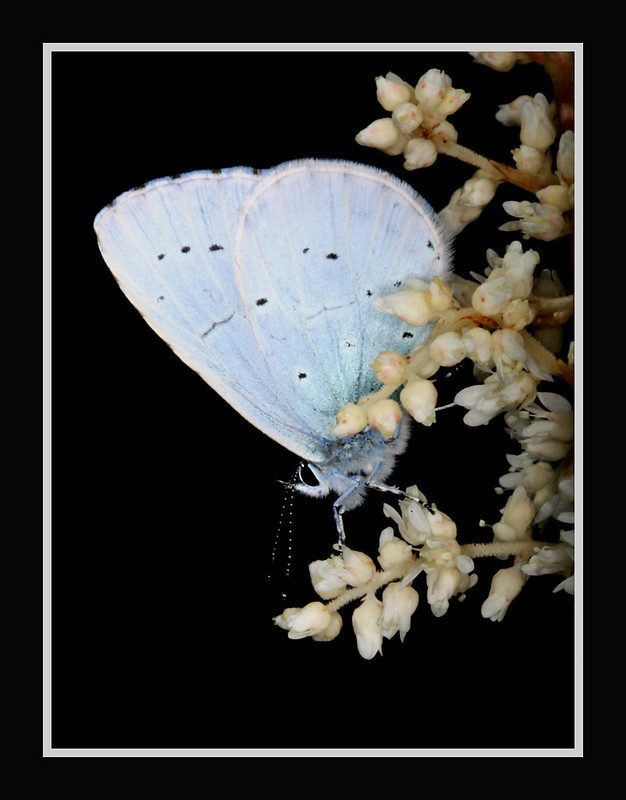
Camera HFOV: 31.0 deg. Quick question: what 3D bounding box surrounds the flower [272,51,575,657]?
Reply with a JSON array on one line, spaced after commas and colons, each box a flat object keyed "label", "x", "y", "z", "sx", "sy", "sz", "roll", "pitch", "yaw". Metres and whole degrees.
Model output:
[{"label": "flower", "x": 0.297, "y": -0.090, "z": 2.125, "sx": 0.714, "sy": 0.264, "sz": 0.977, "roll": 9, "pitch": 84, "yaw": 2}]
